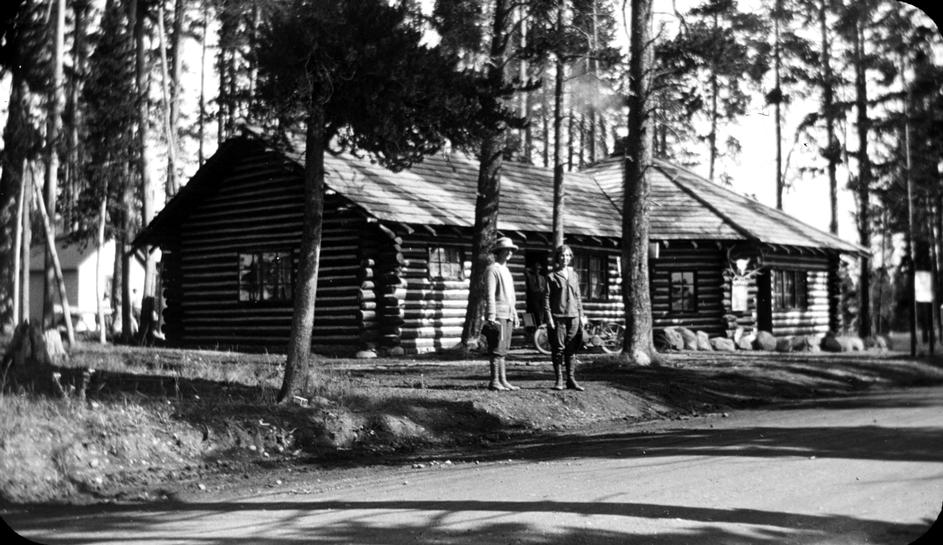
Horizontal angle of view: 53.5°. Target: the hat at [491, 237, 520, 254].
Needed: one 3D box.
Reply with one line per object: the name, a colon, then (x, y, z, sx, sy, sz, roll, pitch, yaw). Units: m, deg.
hat: (0.869, -0.704, 24.762, 0.739, 0.285, 0.866, 2, -17, -3)
